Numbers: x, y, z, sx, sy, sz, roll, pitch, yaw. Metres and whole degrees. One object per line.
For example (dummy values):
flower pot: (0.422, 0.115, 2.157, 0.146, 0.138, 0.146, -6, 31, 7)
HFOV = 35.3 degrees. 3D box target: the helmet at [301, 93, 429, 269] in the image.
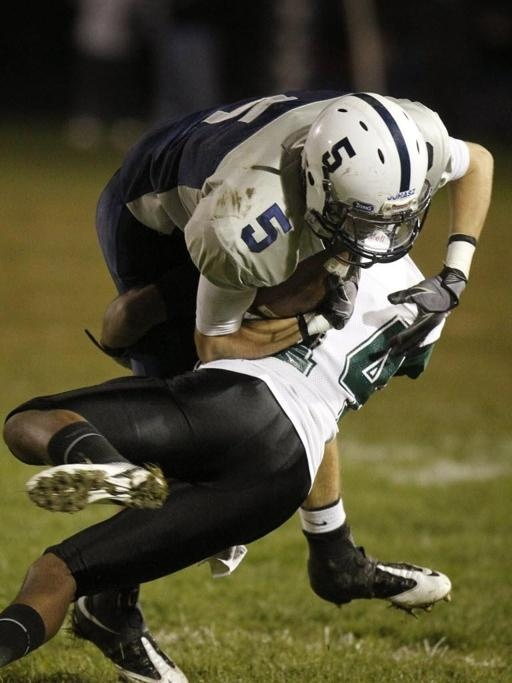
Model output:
helmet: (0.276, -0.403, 1.988, 0.328, 0.432, 0.197, 4, 7, 3)

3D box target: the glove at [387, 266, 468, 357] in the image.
glove: (0.504, -0.088, 2.454, 0.273, 0.240, 0.091, 38, -11, 9)

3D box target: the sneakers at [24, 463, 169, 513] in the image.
sneakers: (-0.289, 0.254, 1.528, 0.289, 0.087, 0.113, 0, -34, -15)

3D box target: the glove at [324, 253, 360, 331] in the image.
glove: (0.228, -0.137, 2.146, 0.071, 0.184, 0.131, 0, -30, 33)

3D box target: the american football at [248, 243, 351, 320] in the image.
american football: (0.112, -0.140, 2.175, 0.229, 0.079, 0.234, -29, -25, 36)
